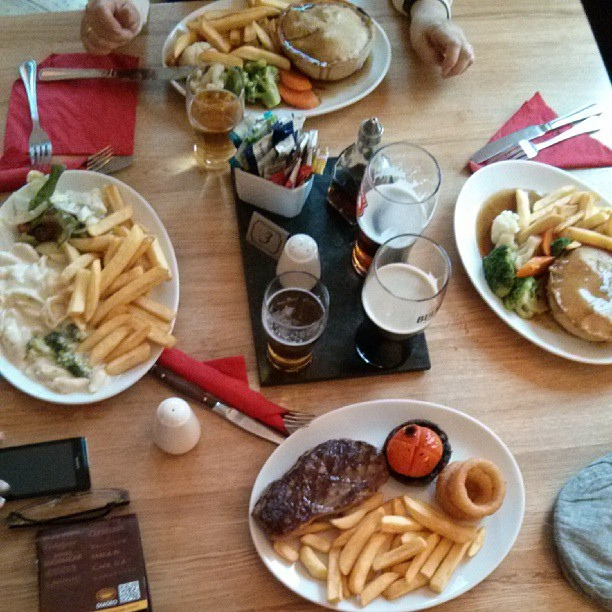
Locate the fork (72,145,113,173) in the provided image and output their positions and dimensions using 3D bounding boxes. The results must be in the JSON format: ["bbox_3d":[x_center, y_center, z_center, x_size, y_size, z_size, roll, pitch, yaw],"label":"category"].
[{"bbox_3d":[-0.605,-0.411,1.694,0.031,0.024,0.158,48,63,-2],"label":"fork"}]

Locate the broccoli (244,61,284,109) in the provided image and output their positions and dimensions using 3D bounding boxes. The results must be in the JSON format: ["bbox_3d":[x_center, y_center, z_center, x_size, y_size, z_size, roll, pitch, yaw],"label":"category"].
[{"bbox_3d":[-0.132,-0.677,1.774,0.132,0.065,0.135,-5,57,4],"label":"broccoli"}]

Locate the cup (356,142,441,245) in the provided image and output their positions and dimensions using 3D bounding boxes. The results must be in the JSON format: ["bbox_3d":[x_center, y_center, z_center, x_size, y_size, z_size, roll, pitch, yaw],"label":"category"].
[{"bbox_3d":[0.221,-0.287,1.480,0.157,0.247,0.166,0,77,-2],"label":"cup"}]

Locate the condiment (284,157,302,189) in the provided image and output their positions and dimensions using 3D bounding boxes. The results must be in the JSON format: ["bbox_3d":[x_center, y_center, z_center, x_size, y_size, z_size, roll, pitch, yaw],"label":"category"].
[{"bbox_3d":[-0.039,-0.355,1.542,0.027,0.021,0.087,-9,33,31],"label":"condiment"}]

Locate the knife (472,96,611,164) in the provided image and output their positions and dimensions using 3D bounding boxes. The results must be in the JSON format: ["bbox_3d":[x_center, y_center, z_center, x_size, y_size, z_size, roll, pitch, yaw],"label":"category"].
[{"bbox_3d":[0.740,-0.561,1.885,0.433,0.031,0.115,-28,58,-17],"label":"knife"}]

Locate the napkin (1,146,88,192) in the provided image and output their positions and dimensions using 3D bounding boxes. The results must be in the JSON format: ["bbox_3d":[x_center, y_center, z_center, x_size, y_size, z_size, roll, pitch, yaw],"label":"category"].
[{"bbox_3d":[-0.722,-0.370,1.593,0.175,0.054,0.125,-30,47,-26],"label":"napkin"}]

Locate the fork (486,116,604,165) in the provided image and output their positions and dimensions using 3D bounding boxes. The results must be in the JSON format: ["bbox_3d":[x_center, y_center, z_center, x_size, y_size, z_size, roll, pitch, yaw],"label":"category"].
[{"bbox_3d":[0.751,-0.523,1.858,0.477,0.027,0.073,-20,76,-15],"label":"fork"}]

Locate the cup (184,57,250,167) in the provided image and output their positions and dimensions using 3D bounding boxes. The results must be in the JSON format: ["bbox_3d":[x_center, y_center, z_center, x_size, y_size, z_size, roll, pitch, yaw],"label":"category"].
[{"bbox_3d":[-0.255,-0.553,1.674,0.183,0.289,0.185,4,56,-7],"label":"cup"}]

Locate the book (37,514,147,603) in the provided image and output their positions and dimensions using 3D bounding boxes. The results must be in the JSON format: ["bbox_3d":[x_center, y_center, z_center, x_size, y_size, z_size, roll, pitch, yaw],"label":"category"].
[{"bbox_3d":[-0.416,0.503,1.147,0.153,0.037,0.154,-10,53,-18],"label":"book"}]

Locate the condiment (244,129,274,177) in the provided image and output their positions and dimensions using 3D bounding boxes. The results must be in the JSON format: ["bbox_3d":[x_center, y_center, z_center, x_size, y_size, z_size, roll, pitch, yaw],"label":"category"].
[{"bbox_3d":[-0.120,-0.397,1.538,0.083,0.115,0.045,-24,72,-10],"label":"condiment"}]

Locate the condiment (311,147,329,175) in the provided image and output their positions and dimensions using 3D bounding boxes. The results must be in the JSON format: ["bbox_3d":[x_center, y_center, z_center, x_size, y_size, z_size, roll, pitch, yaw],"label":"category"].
[{"bbox_3d":[0.036,-0.397,1.566,0.046,0.018,0.078,4,84,10],"label":"condiment"}]

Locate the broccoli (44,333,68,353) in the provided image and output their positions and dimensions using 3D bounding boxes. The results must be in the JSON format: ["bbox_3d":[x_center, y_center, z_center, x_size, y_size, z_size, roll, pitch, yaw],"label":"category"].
[{"bbox_3d":[-0.571,0.082,1.334,0.043,0.016,0.039,46,62,6],"label":"broccoli"}]

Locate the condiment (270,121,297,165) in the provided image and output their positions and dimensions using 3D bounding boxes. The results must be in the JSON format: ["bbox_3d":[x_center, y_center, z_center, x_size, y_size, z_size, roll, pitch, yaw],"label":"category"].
[{"bbox_3d":[-0.063,-0.423,1.520,0.074,0.089,0.068,-17,71,-7],"label":"condiment"}]

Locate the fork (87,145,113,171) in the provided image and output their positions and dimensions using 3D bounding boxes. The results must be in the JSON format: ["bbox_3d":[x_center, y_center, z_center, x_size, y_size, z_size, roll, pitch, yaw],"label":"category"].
[{"bbox_3d":[-0.594,-0.432,1.693,0.052,0.038,0.111,8,71,1],"label":"fork"}]

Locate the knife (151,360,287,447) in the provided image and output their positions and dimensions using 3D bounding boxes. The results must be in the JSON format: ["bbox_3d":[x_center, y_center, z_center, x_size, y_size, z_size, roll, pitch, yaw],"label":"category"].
[{"bbox_3d":[-0.212,0.233,1.357,0.297,0.021,0.041,34,63,12],"label":"knife"}]

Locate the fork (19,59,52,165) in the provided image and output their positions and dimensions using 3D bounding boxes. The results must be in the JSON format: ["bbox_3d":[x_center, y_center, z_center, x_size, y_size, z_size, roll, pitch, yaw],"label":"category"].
[{"bbox_3d":[-0.783,-0.554,1.699,0.051,0.359,0.031,-7,49,-26],"label":"fork"}]

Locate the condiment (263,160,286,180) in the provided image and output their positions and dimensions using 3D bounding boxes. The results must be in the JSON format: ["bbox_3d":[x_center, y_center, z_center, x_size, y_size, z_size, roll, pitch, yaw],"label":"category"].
[{"bbox_3d":[-0.087,-0.363,1.546,0.057,0.033,0.023,-34,108,-20],"label":"condiment"}]

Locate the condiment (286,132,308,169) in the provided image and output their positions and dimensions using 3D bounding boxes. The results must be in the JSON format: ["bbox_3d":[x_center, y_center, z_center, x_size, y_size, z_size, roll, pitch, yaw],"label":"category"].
[{"bbox_3d":[-0.028,-0.405,1.528,0.030,0.030,0.130,26,105,-6],"label":"condiment"}]

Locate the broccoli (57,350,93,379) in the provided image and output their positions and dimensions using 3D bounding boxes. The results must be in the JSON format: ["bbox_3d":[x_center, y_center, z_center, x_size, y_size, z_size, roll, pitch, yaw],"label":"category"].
[{"bbox_3d":[-0.523,0.133,1.324,0.055,0.026,0.072,-31,81,-30],"label":"broccoli"}]
